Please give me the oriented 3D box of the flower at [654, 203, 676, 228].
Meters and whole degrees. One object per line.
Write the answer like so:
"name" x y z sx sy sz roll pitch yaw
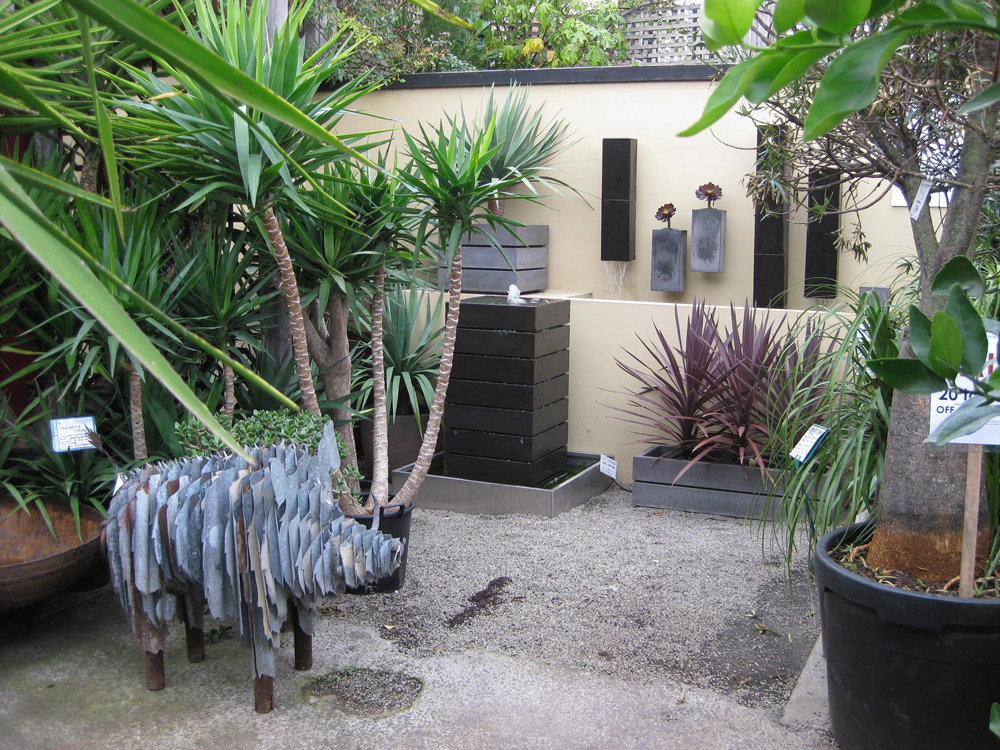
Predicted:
"flower" 1.259 -1.250 5.668 0.168 0.269 0.177 -2 13 -3

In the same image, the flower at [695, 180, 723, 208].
"flower" 1.564 -1.379 5.513 0.176 0.230 0.192 5 28 15

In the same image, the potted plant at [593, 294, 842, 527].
"potted plant" 1.394 0.213 4.141 0.843 1.189 1.014 -10 14 -41

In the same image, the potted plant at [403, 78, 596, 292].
"potted plant" -0.030 -1.094 4.579 0.767 1.161 0.967 0 9 22
